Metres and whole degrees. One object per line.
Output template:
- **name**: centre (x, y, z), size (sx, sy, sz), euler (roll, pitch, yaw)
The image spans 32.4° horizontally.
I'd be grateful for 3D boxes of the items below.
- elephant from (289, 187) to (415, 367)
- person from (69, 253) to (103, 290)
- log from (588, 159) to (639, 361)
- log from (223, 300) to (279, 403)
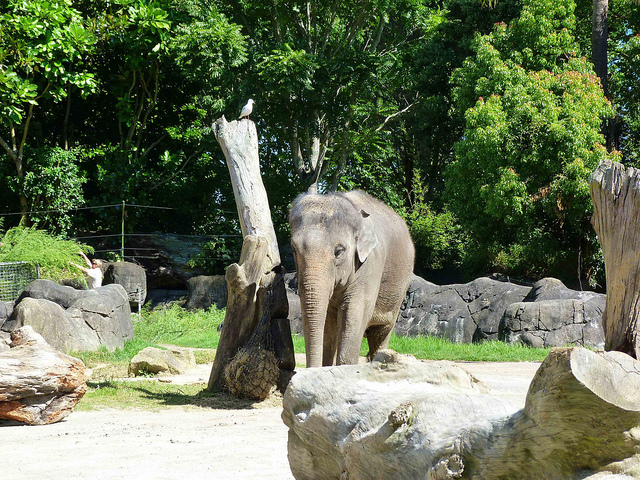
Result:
- **elephant**: centre (0.610, 1.075, 22.248), size (1.817, 3.669, 4.357), euler (1, -9, 20)
- **person**: centre (-6.137, 0.794, 29.210), size (0.729, 0.940, 1.513), euler (5, -1, -13)
- **log**: centre (5.321, 0.389, 19.915), size (0.777, 3.679, 0.689), euler (2, 6, 27)
- **log**: centre (-1.183, 2.254, 22.185), size (1.107, 1.499, 1.873), euler (1, -1, 8)
